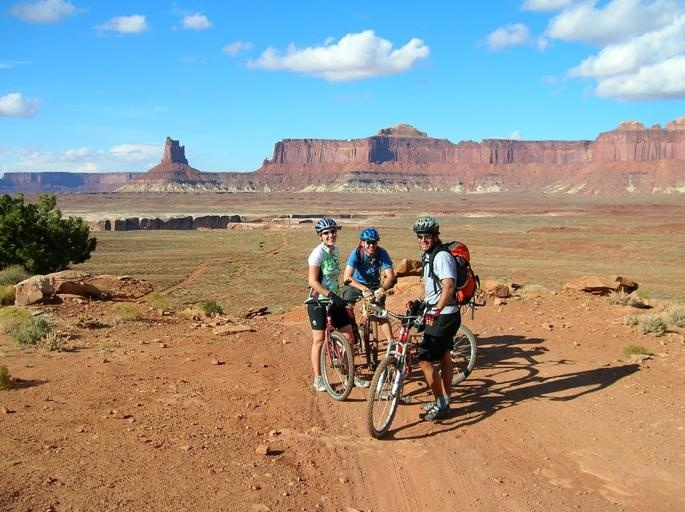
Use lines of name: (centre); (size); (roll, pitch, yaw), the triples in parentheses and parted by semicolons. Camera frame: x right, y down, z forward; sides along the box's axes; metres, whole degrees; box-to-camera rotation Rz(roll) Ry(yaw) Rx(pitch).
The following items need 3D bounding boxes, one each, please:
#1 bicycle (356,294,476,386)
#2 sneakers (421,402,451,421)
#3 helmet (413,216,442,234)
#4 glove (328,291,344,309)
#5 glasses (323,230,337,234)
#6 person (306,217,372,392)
bicycle: (1.258, 1.385, 8.411); (2.122, 1.165, 1.246); (3, -4, -17)
sneakers: (1.281, 2.123, 7.028); (0.390, 0.158, 0.213); (4, 5, -23)
helmet: (1.161, -0.475, 6.986); (0.409, 0.209, 0.536); (-1, -6, 9)
glove: (-0.085, 0.610, 7.152); (0.240, 0.082, 0.181); (21, -6, 39)
glasses: (-0.173, -0.362, 7.365); (0.214, 0.067, 0.134); (-6, 15, -31)
person: (-0.206, 0.756, 7.608); (0.695, 2.734, 1.041); (1, 15, -5)
